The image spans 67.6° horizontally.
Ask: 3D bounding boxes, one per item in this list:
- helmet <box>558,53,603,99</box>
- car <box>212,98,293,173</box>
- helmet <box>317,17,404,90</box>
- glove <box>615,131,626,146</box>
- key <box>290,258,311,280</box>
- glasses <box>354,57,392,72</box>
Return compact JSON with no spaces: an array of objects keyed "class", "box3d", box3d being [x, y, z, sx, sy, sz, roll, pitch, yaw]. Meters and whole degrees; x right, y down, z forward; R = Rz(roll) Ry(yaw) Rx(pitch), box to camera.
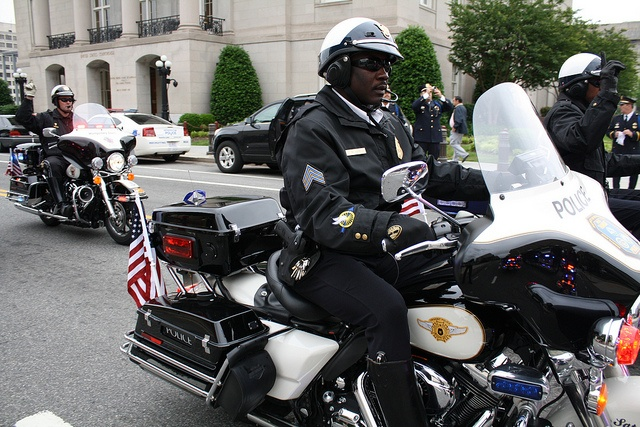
[{"class":"helmet","box3d":[2.469,-1.329,4.629,0.510,0.415,0.421,2,9,21]},{"class":"car","box3d":[-2.039,-2.281,15.041,2.702,1.479,1.644,11,14,30]},{"class":"helmet","box3d":[0.221,-0.996,3.104,0.518,0.405,0.414,5,2,30]},{"class":"glove","box3d":[6.286,-1.587,10.045,0.120,0.342,0.222,-25,30,-27]},{"class":"key","box3d":[-0.121,0.332,2.872,0.102,0.130,0.032,33,10,26]},{"class":"glasses","box3d":[0.298,-0.897,2.940,0.136,0.040,0.119,7,6,37]}]
